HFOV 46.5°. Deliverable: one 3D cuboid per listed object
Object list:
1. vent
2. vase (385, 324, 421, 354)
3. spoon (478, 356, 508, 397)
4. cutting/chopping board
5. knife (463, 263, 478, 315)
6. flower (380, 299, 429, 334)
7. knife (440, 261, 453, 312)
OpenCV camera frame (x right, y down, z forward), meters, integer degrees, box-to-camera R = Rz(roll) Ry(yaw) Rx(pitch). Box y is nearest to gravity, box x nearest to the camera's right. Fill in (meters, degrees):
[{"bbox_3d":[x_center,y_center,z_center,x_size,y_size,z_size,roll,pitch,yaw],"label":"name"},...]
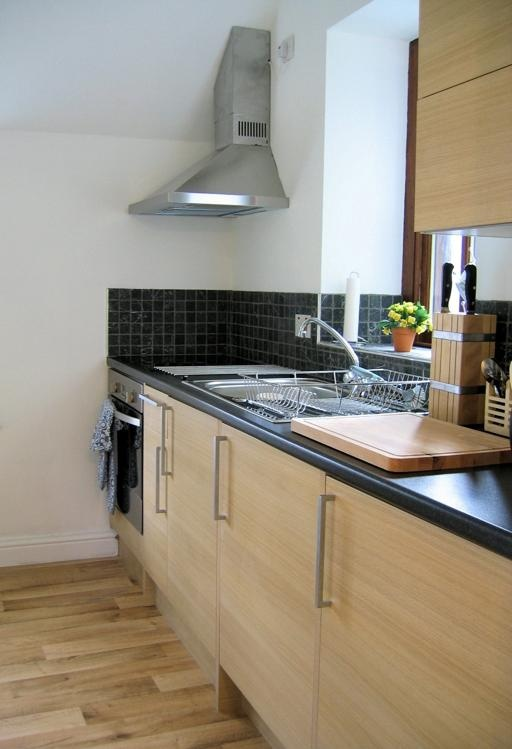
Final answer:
[{"bbox_3d":[-0.209,-1.204,2.813,0.643,0.779,0.846,1,16,-2],"label":"vent"},{"bbox_3d":[0.528,-0.124,2.139,0.086,0.083,0.093,2,3,-12],"label":"vase"},{"bbox_3d":[0.546,0.010,1.365,0.052,0.086,0.063,1,3,15],"label":"spoon"},{"bbox_3d":[0.290,0.128,1.181,0.324,0.045,0.459,0,3,-18],"label":"cutting/chopping board"},{"bbox_3d":[0.546,-0.210,1.495,0.028,0.120,0.030,8,10,14],"label":"knife"},{"bbox_3d":[0.556,-0.233,2.197,0.139,0.108,0.145,2,12,-3],"label":"flower"},{"bbox_3d":[0.511,-0.228,1.579,0.027,0.138,0.030,-3,-3,-41],"label":"knife"}]
